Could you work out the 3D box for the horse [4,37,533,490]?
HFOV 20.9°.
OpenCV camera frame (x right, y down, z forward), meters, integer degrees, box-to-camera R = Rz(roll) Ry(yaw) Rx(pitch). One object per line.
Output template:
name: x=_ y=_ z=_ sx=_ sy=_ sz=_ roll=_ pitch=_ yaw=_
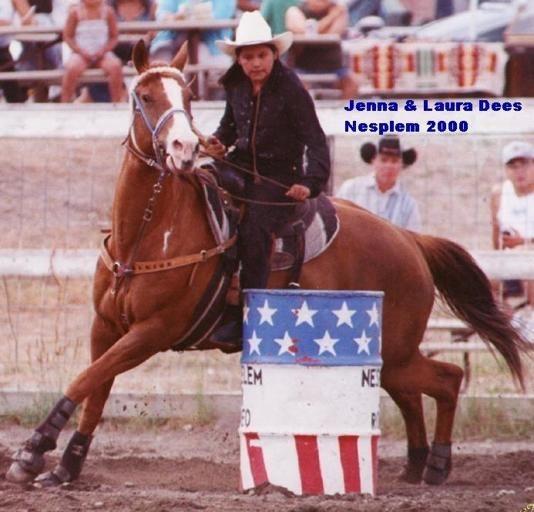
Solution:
horse: x=-0.065 y=0.098 z=9.941 sx=3.557 sy=3.137 sz=0.804 roll=-4 pitch=9 yaw=-21
